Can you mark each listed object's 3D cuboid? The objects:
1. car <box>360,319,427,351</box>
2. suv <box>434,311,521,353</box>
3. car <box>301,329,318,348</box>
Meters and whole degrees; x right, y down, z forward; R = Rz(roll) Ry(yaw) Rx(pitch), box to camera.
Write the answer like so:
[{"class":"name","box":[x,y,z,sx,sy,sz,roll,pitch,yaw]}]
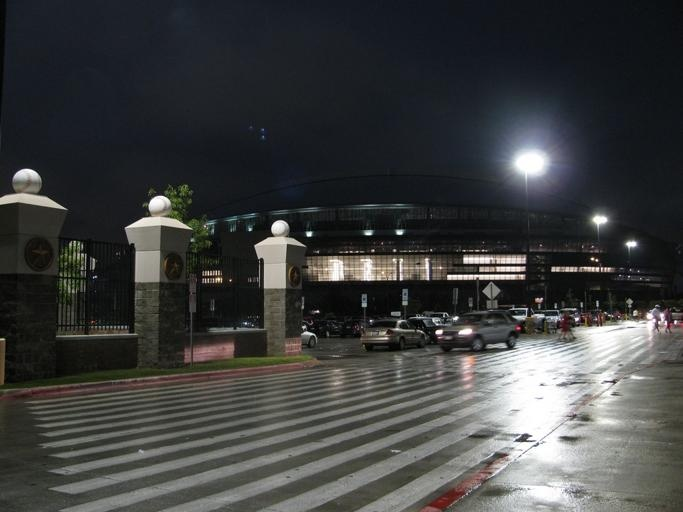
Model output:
[{"class":"car","box":[3.107,4.636,34.234,4.141,1.850,1.418,3,-10,-39]},{"class":"suv","box":[7.756,4.272,32.374,4.372,1.786,2.087,8,-13,-44]},{"class":"car","box":[-2.321,5.101,35.336,1.796,0.897,1.155,-2,-1,-8]}]
